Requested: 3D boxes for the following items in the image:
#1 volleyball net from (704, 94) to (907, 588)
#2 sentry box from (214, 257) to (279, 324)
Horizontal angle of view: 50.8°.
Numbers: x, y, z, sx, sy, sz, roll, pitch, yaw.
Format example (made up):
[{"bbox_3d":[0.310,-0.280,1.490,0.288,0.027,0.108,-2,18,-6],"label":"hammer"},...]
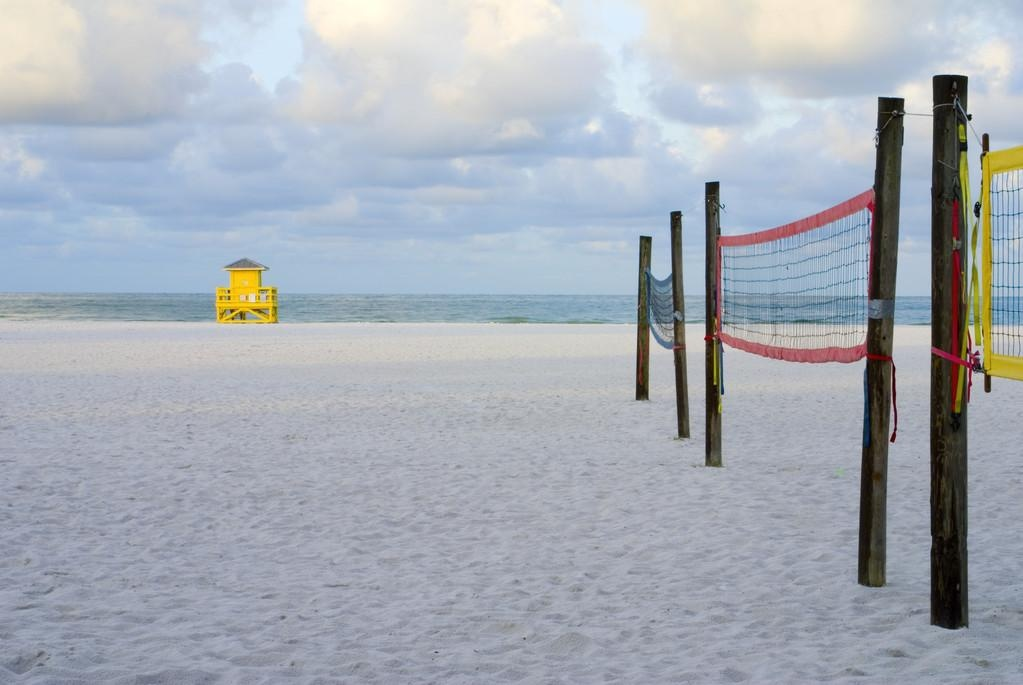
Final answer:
[{"bbox_3d":[3.063,0.586,11.268,0.795,2.940,4.127,-1,5,-7],"label":"volleyball net"},{"bbox_3d":[-9.797,-2.002,40.702,2.560,2.168,1.923,0,12,14],"label":"sentry box"}]
